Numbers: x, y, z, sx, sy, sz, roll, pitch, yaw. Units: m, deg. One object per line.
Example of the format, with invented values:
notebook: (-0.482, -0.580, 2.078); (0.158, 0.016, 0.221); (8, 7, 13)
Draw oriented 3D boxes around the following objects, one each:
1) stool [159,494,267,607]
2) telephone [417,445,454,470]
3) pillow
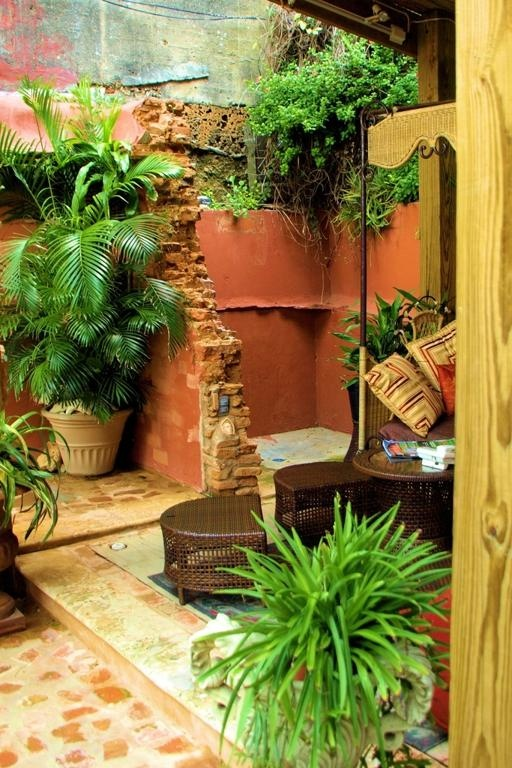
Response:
stool: (-0.232, 0.887, 3.121); (0.572, 0.389, 0.784); (-3, 15, -5)
telephone: (0.989, 0.401, 3.283); (0.172, 0.059, 0.172); (-5, 7, -20)
pillow: (1.120, -0.021, 4.230); (0.622, 0.650, 0.503); (-12, 12, -36)
